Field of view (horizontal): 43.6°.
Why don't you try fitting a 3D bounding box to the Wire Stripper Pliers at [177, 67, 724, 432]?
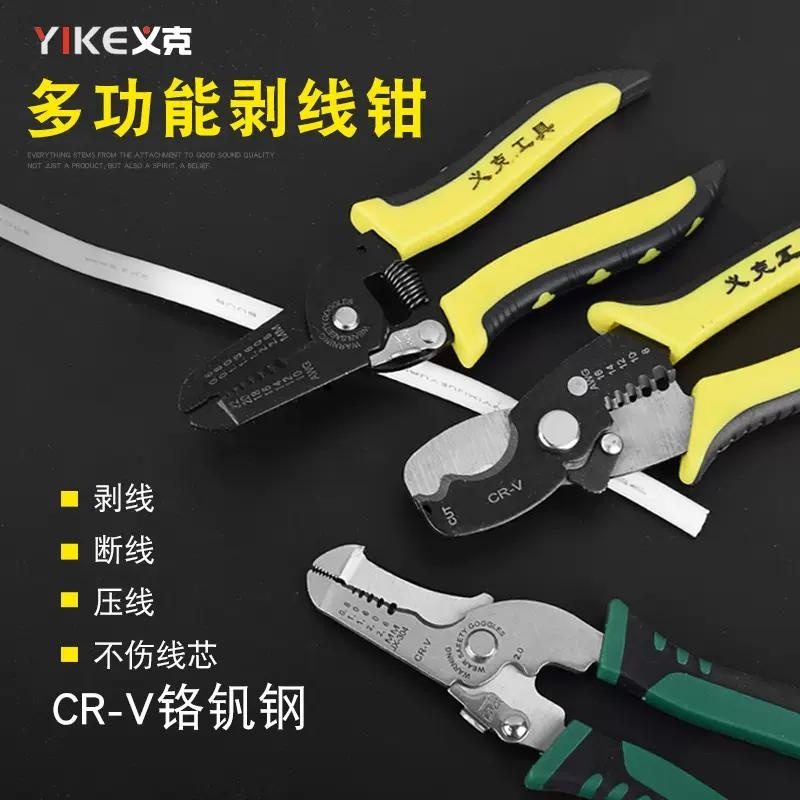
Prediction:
[{"bbox_3d":[0.091,-0.165,1.518,0.830,0.322,0.074,-32,63,13],"label":"Wire Stripper Pliers"}]
